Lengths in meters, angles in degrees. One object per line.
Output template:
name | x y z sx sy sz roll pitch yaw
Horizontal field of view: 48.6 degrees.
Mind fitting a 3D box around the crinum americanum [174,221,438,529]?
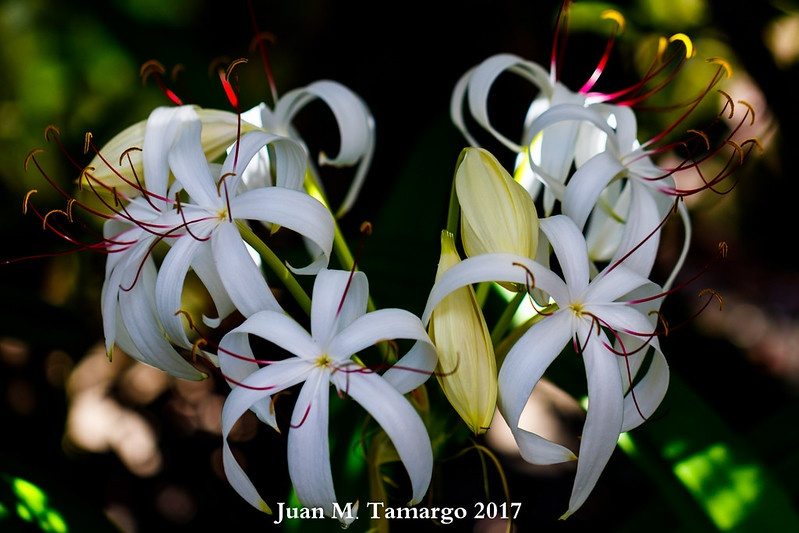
crinum americanum | -0.129 0.218 1.467 0.429 0.232 0.646 16 26 6

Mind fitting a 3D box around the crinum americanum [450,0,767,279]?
crinum americanum | 0.353 -0.127 1.711 0.459 0.315 0.568 9 62 -16

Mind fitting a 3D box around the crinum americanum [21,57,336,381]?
crinum americanum | -0.321 -0.040 1.560 0.464 0.365 0.547 -22 58 2

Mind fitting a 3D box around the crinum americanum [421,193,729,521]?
crinum americanum | 0.262 0.107 1.445 0.383 0.241 0.358 39 65 21
